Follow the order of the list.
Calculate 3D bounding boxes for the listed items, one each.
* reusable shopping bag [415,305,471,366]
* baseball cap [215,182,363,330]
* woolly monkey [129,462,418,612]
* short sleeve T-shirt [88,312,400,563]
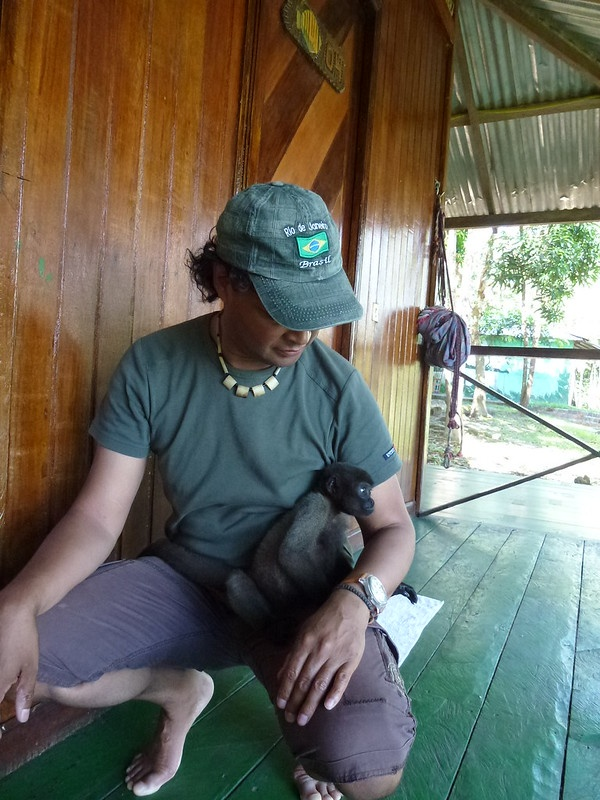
[{"bbox_3d":[0.959,-0.418,3.716,0.392,0.198,0.331,22,22,-10],"label":"reusable shopping bag"},{"bbox_3d":[-0.032,-0.246,1.019,0.181,0.160,0.301,-23,57,-28],"label":"baseball cap"},{"bbox_3d":[-0.074,0.286,1.123,0.547,0.312,0.244,-1,-5,2],"label":"woolly monkey"},{"bbox_3d":[-0.136,0.082,1.140,0.507,0.467,0.221,13,3,-2],"label":"short sleeve T-shirt"}]
